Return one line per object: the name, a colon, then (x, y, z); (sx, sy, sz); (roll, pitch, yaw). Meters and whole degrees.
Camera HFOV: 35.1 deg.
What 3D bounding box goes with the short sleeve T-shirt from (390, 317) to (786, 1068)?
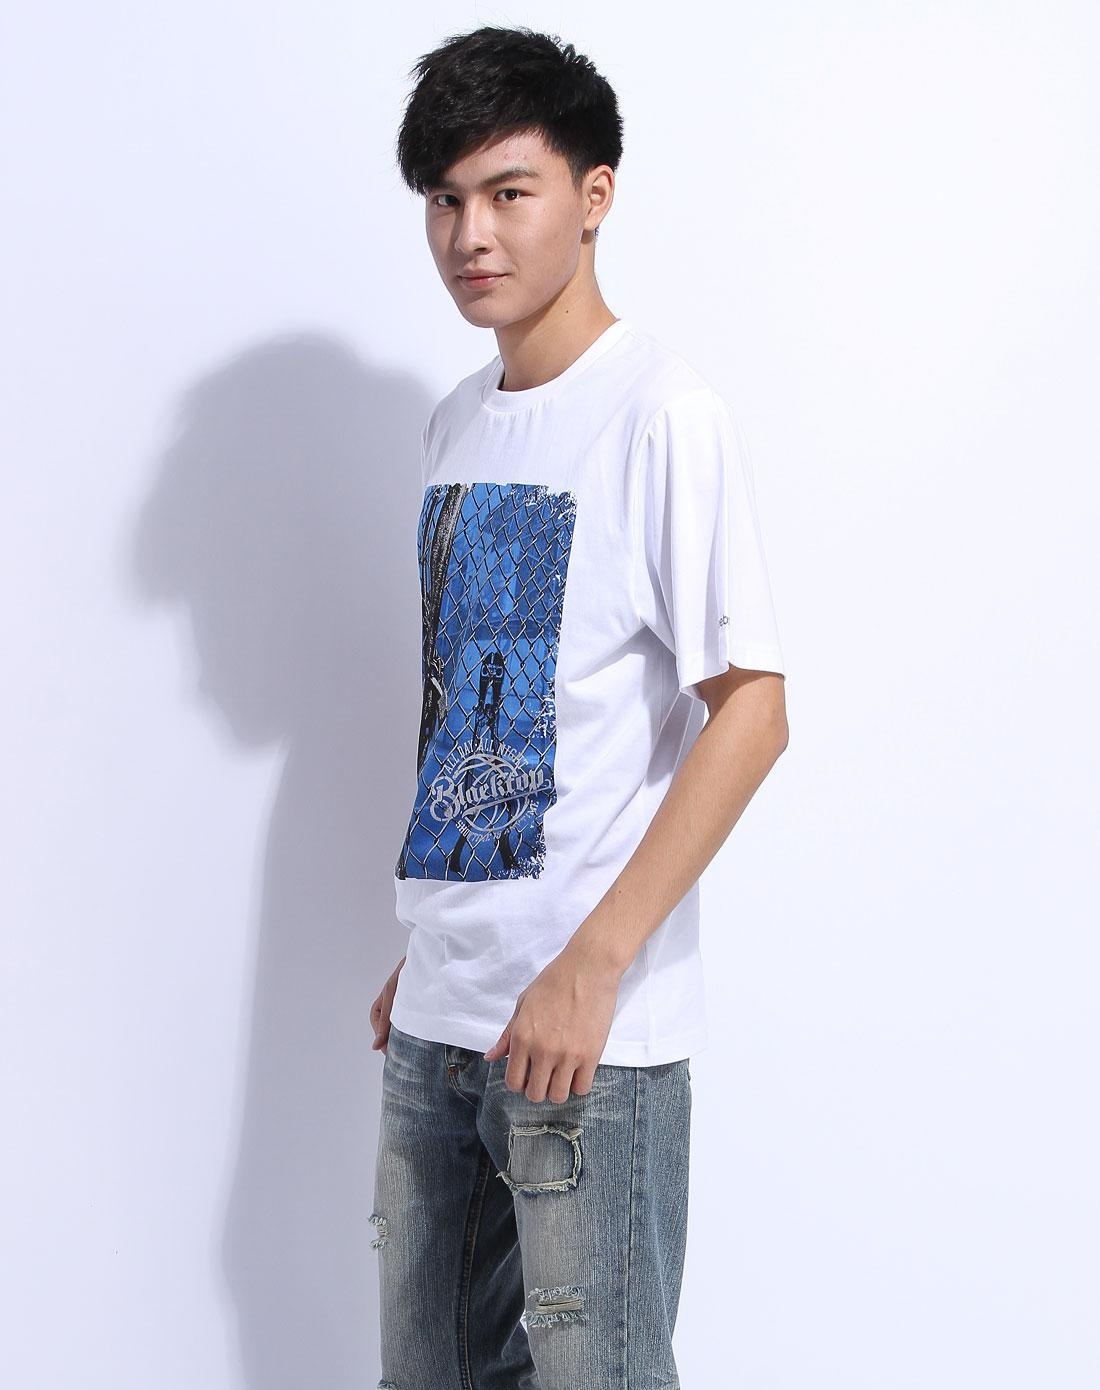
short sleeve T-shirt: (0.019, -0.015, 1.621); (0.434, 0.673, 0.198); (-8, -10, 39)
